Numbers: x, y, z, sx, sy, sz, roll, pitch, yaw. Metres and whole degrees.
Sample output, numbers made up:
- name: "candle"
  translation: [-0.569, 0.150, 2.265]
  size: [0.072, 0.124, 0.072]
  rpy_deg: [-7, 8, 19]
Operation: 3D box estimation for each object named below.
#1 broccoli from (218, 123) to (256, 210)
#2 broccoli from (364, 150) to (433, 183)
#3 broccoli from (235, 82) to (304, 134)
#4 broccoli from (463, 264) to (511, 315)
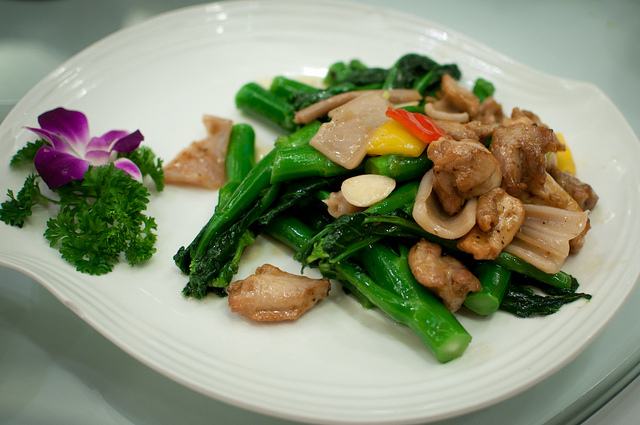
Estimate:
- name: "broccoli"
  translation: [-1.003, -0.581, 6.533]
  size: [0.338, 0.905, 0.582]
  rpy_deg: [-9, 29, -15]
- name: "broccoli"
  translation: [0.846, -0.552, 5.566]
  size: [0.590, 0.323, 0.748]
  rpy_deg: [-10, 22, -26]
- name: "broccoli"
  translation: [-0.718, -1.473, 6.996]
  size: [0.899, 0.382, 0.456]
  rpy_deg: [22, 20, -4]
- name: "broccoli"
  translation: [1.783, 0.699, 5.210]
  size: [0.332, 0.618, 0.236]
  rpy_deg: [8, -33, 21]
